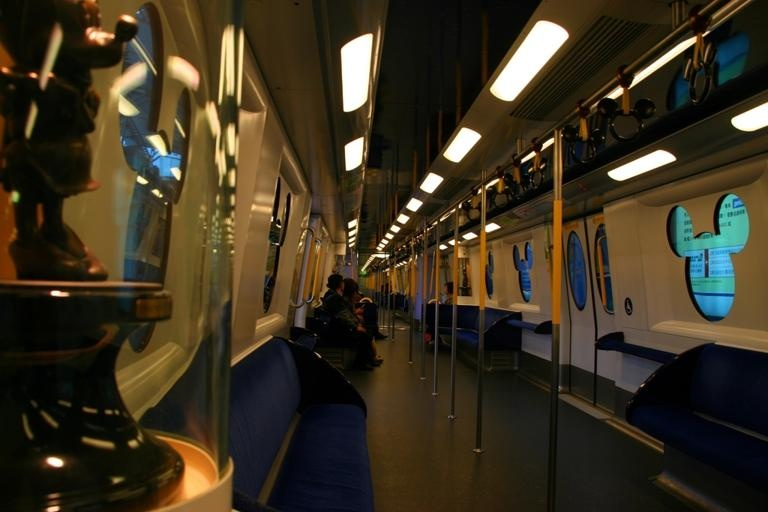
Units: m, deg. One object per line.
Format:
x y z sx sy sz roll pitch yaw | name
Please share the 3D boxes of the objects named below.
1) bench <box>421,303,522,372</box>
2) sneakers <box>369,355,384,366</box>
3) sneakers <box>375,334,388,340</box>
1.591 1.375 9.984 1.515 1.155 4.497 -5 -5 3 | bench
-0.112 1.609 8.186 0.216 0.107 0.077 -2 -1 13 | sneakers
-0.096 1.804 11.984 0.344 0.172 0.117 -4 -2 26 | sneakers
